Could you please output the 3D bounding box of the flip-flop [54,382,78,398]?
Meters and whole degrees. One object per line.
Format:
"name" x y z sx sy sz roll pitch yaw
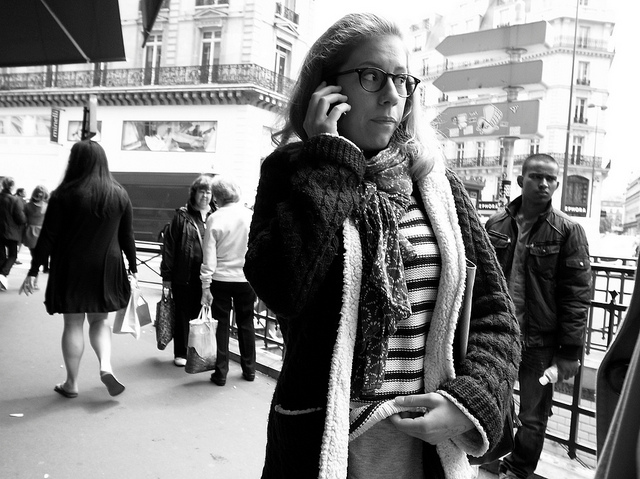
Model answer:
"flip-flop" -2.655 1.568 6.628 0.098 0.109 0.239 6 4 -43

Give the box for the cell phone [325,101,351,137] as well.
"cell phone" 0.094 -0.616 3.256 0.036 0.163 0.151 3 -2 -41

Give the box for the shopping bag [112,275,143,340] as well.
"shopping bag" -2.157 0.767 7.043 0.278 0.755 0.446 5 5 2

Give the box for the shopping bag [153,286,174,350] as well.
"shopping bag" -1.911 0.996 7.844 0.237 0.810 0.210 1 6 -31

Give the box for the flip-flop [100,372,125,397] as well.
"flip-flop" -2.117 1.480 6.440 0.169 0.293 0.108 -29 22 1

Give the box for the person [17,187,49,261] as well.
"person" -6.245 -0.317 13.928 0.594 1.779 0.567 1 21 -24

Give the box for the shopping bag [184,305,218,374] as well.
"shopping bag" -1.321 1.132 7.256 0.342 0.808 0.247 -2 9 -30

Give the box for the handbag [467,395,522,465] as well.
"handbag" 0.876 0.922 3.210 0.286 0.371 0.272 -5 -8 -13

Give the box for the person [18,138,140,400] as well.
"person" -2.416 0.332 6.472 0.990 2.659 0.561 3 5 -19
